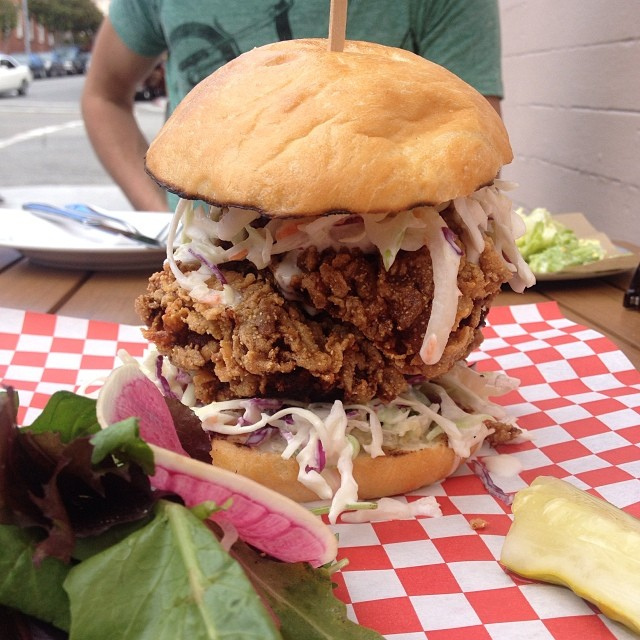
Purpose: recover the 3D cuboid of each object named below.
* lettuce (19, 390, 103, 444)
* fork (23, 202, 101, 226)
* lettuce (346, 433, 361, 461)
[{"bbox_3d":[-0.462,0.184,1.188,0.228,0.104,0.041,-6,-18,22],"label":"lettuce"},{"bbox_3d":[-1.030,-0.416,2.694,0.348,0.044,0.080,14,18,11],"label":"fork"},{"bbox_3d":[0.077,0.279,1.517,0.024,0.046,0.057,-7,16,-7],"label":"lettuce"}]
